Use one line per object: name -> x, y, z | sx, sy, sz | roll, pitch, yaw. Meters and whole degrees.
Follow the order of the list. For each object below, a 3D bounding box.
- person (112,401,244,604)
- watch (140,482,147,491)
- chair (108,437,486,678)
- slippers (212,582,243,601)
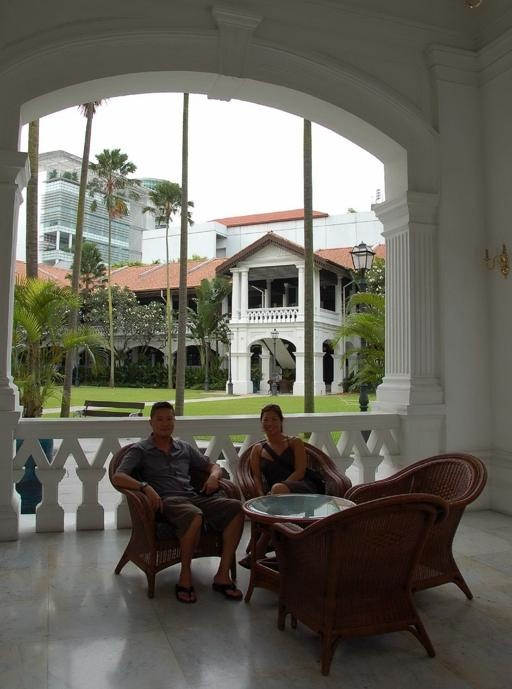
person -> -0.495, 1.030, 3.894 | 0.706, 1.115, 0.701 | 15, -39, -36
watch -> -0.655, 0.835, 3.592 | 0.027, 0.041, 0.042 | 4, -12, 8
chair -> 0.325, 1.055, 3.629 | 1.954, 0.812, 1.064 | 0, 0, 17
slippers -> -0.151, 1.393, 3.468 | 0.100, 0.055, 0.243 | -1, 1, -32
